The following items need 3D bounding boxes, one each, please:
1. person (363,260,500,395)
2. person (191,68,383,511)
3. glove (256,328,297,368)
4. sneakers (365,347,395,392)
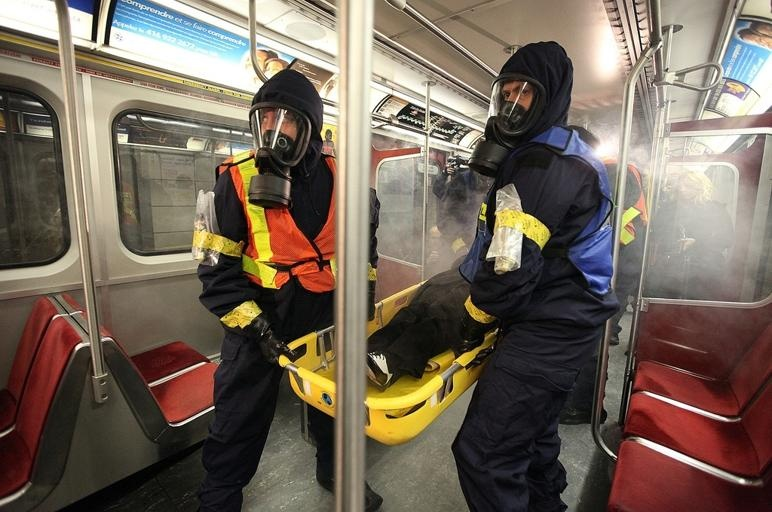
[{"bbox_3d":[0.276,0.519,3.693,0.543,0.296,0.990,21,46,27],"label":"person"},{"bbox_3d":[-0.865,0.302,3.586,1.039,3.183,0.735,-2,14,-11],"label":"person"},{"bbox_3d":[-0.778,0.642,3.434,0.288,0.159,0.111,36,-4,21],"label":"glove"},{"bbox_3d":[-0.016,0.775,3.480,0.287,0.338,0.124,17,57,13],"label":"sneakers"}]
